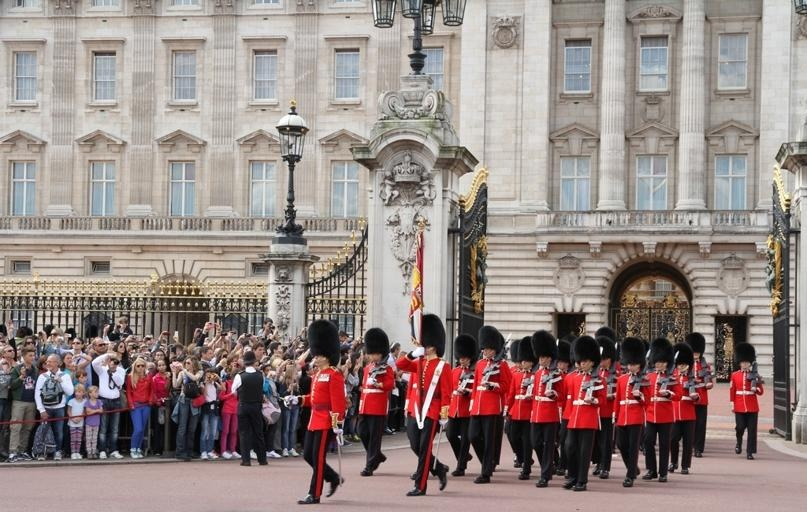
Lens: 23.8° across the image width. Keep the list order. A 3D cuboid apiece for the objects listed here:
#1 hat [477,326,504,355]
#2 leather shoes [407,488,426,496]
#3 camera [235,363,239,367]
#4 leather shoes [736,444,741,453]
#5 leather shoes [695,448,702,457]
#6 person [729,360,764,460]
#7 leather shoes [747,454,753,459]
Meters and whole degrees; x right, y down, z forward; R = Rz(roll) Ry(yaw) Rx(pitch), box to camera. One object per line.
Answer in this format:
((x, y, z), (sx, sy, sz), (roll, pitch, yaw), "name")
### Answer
((2.552, 2.415, 54.900), (0.639, 0.627, 0.847), (0, -22, 7), "hat")
((0.378, 6.549, 53.021), (0.402, 0.152, 0.202), (3, -4, 8), "leather shoes")
((-4.906, 3.222, 56.579), (0.125, 0.102, 0.028), (1, -8, 9), "camera")
((10.323, 5.947, 58.639), (0.152, 0.240, 0.352), (-2, -5, 17), "leather shoes")
((8.979, 5.959, 58.079), (0.213, 0.153, 0.420), (-1, -10, 2), "leather shoes")
((10.590, 4.720, 58.568), (1.200, 2.664, 0.851), (0, 0, 5), "person")
((10.534, 6.060, 57.740), (0.234, 0.162, 0.358), (-1, -5, 10), "leather shoes")
